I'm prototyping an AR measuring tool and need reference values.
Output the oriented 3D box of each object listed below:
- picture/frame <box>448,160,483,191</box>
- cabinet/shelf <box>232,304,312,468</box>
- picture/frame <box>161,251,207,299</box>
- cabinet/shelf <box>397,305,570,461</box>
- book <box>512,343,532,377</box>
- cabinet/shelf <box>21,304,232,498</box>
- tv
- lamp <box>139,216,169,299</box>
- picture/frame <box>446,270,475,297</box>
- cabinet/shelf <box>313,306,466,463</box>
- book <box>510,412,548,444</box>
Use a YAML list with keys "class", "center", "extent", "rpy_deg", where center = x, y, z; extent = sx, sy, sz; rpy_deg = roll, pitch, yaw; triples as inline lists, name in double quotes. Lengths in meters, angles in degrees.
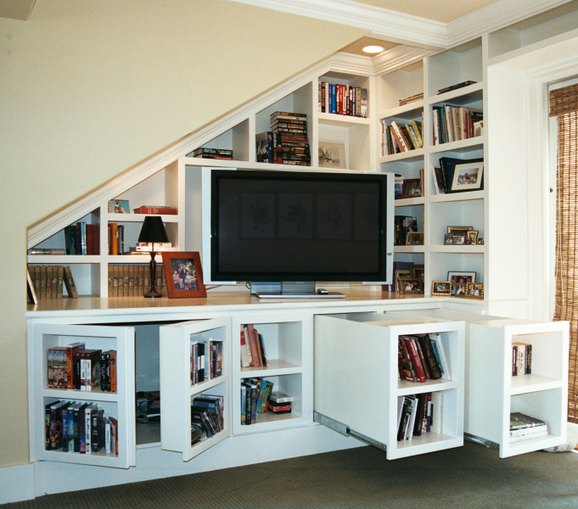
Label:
- class: "picture/frame"
  center: [1.250, -0.556, 4.043]
  extent: [0.011, 0.260, 0.238]
  rpy_deg: [24, -19, -33]
- class: "cabinet/shelf"
  center: [-0.060, 0.638, 3.550]
  extent: [0.322, 0.610, 0.428]
  rpy_deg: [-1, 5, 27]
- class: "picture/frame"
  center: [-0.677, 0.130, 3.692]
  extent: [0.301, 0.372, 0.024]
  rpy_deg: [2, -24, -37]
- class: "cabinet/shelf"
  center: [1.062, 0.666, 3.209]
  extent: [0.452, 0.666, 0.834]
  rpy_deg: [0, 4, -14]
- class: "book"
  center: [1.249, 0.571, 3.072]
  extent: [0.159, 0.162, 0.089]
  rpy_deg: [0, 0, -13]
- class: "cabinet/shelf"
  center: [-0.819, 0.773, 3.173]
  extent: [0.931, 0.918, 0.746]
  rpy_deg: [0, 3, 12]
- class: "tv"
  center: [0.065, -0.121, 3.761]
  extent: [1.207, 0.858, 0.314]
  rpy_deg: [1, -13, -2]
- class: "lamp"
  center: [-0.886, 0.005, 3.725]
  extent: [0.189, 0.513, 0.312]
  rpy_deg: [-2, 3, -14]
- class: "picture/frame"
  center: [1.239, 0.212, 4.123]
  extent: [0.187, 0.209, 0.014]
  rpy_deg: [-9, -44, 35]
- class: "cabinet/shelf"
  center: [0.543, 0.688, 3.254]
  extent: [0.542, 0.701, 0.741]
  rpy_deg: [1, 2, -28]
- class: "book"
  center: [1.241, 0.901, 2.956]
  extent: [0.156, 0.039, 0.148]
  rpy_deg: [1, 4, 15]
